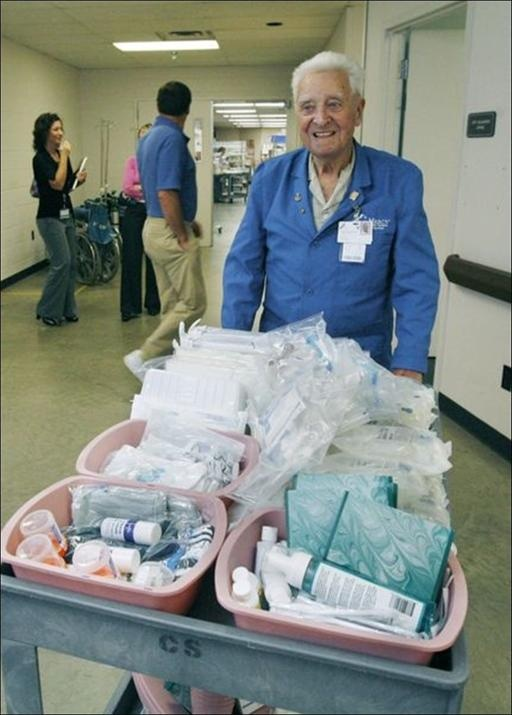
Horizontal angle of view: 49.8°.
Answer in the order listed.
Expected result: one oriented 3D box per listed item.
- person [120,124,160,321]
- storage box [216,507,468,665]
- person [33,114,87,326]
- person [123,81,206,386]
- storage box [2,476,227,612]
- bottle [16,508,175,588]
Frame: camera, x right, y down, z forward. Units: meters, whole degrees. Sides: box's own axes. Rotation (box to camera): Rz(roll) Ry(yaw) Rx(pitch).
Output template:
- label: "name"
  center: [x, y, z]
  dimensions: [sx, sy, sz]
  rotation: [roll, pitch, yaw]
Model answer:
- label: "person"
  center: [-0.922, -1.160, 4.643]
  dimensions: [0.461, 1.630, 0.450]
  rotation: [1, -1, -26]
- label: "storage box"
  center: [0.081, 0.221, 0.589]
  dimensions: [0.235, 0.061, 0.160]
  rotation: [6, 25, 16]
- label: "person"
  center: [-1.554, -1.003, 4.301]
  dimensions: [0.422, 1.622, 0.640]
  rotation: [-6, 18, -21]
- label: "person"
  center: [-0.515, -0.657, 3.133]
  dimensions: [0.487, 1.594, 0.517]
  rotation: [-4, 17, -13]
- label: "storage box"
  center: [-0.165, 0.184, 0.675]
  dimensions: [0.206, 0.055, 0.132]
  rotation: [7, 29, 21]
- label: "bottle"
  center: [-0.208, 0.223, 0.708]
  dimensions: [0.163, 0.042, 0.094]
  rotation: [6, 20, 17]
